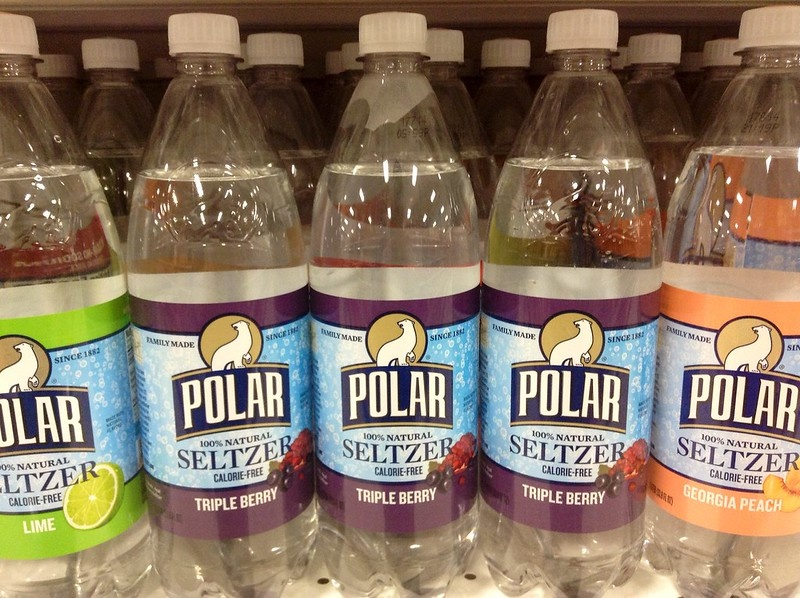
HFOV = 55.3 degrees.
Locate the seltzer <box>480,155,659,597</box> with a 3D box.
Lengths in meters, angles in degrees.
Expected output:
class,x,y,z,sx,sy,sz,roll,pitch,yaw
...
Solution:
class,x,y,z,sx,sy,sz,roll,pitch,yaw
seltzer,0.223,0.123,1.099,0.218,0.690,0.198,1,15,3
